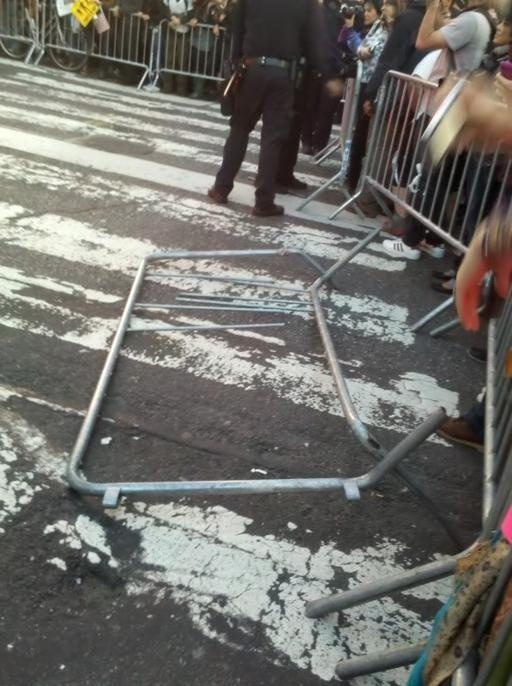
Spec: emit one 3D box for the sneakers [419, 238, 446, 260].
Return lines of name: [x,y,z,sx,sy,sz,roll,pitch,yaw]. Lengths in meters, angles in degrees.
sneakers: [1.372,-0.739,5.597,0.106,0.096,0.254,-6,27,-3]

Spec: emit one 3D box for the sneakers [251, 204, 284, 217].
sneakers: [0.092,-1.121,6.122,0.330,0.118,0.100,-7,59,-30]

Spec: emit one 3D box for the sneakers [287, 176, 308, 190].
sneakers: [0.416,-1.615,7.225,0.259,0.097,0.085,-3,47,-36]

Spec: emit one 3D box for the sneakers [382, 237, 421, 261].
sneakers: [1.108,-0.726,5.524,0.343,0.130,0.134,27,46,29]

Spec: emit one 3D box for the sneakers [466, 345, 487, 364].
sneakers: [1.221,0.051,3.996,0.060,0.054,0.130,-1,21,-4]

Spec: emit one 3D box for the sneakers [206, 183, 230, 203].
sneakers: [-0.339,-1.340,6.333,0.107,0.124,0.240,-11,44,-18]
